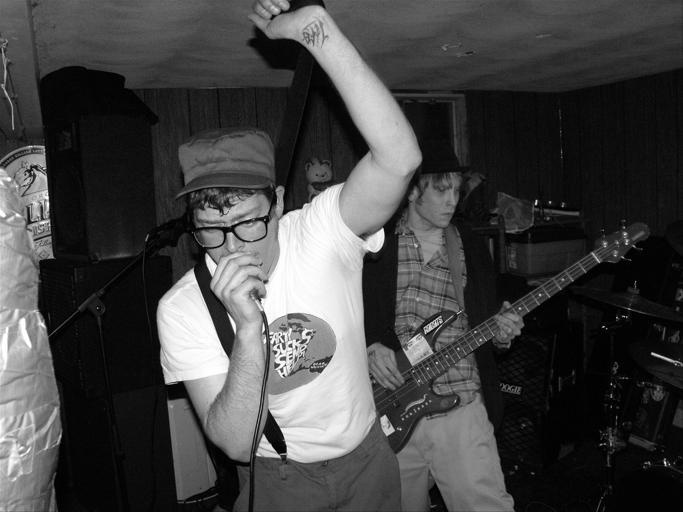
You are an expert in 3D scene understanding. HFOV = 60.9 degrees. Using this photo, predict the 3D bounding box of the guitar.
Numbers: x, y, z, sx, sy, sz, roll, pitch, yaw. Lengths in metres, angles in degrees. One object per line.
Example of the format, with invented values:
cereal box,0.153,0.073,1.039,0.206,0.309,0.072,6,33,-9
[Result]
guitar,0.988,0.487,3.274,1.505,0.462,0.162,-35,-6,-8

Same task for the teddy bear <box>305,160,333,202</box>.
teddy bear,-0.153,-0.527,4.111,0.194,0.290,0.196,-12,30,-14

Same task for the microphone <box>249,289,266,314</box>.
microphone,-0.270,0.145,1.836,0.026,0.072,0.045,-29,19,42
